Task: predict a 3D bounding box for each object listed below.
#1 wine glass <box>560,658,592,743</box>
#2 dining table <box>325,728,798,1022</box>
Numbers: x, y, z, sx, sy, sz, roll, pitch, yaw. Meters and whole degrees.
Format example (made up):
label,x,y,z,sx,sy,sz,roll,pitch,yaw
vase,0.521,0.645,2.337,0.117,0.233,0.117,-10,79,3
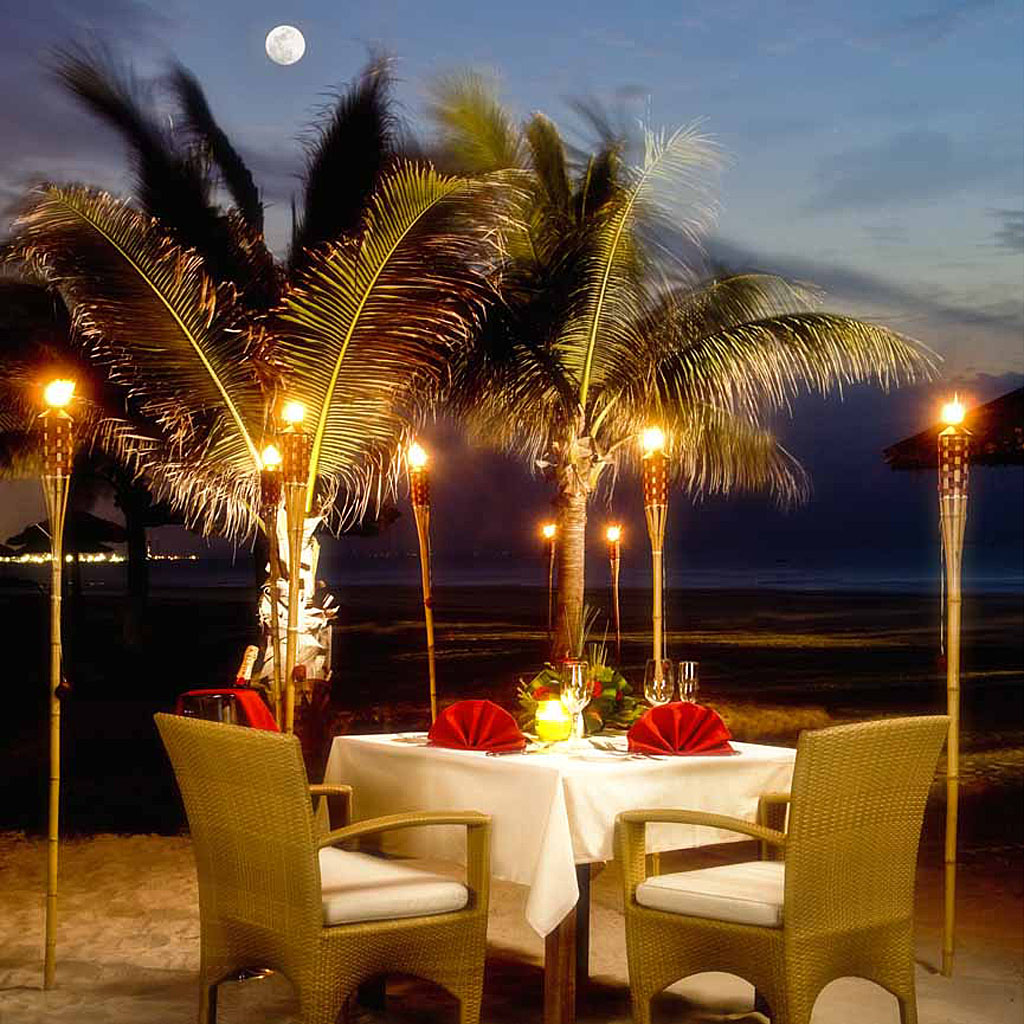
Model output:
label,x,y,z,sx,sy,sz,roll,pitch,yaw
wine glass,0.288,0.796,4.213,0.154,0.418,0.133,1,6,4
dining table,-0.006,1.068,3.924,1.228,0.633,1.287,-4,-5,43
